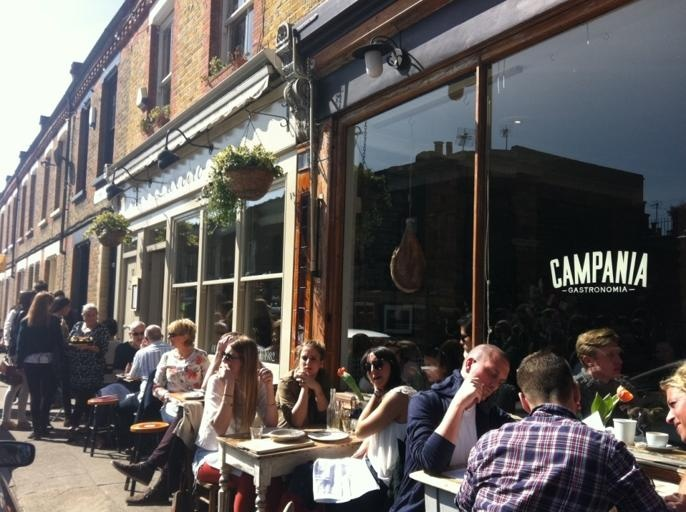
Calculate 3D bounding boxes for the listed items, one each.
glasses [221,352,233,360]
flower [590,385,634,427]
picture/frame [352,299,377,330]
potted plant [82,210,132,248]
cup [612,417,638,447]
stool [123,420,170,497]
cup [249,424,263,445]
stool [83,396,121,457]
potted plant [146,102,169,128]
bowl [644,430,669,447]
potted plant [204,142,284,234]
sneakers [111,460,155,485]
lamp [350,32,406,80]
[{"bbox_3d":[-1.080,0.927,5.721,0.069,0.074,0.169,6,-13,-32],"label":"glasses"},{"bbox_3d":[1.980,1.107,4.536,0.176,0.211,0.207,35,-10,14],"label":"flower"},{"bbox_3d":[0.232,0.639,6.735,0.317,0.308,0.046,-8,-13,39],"label":"picture/frame"},{"bbox_3d":[-4.231,-0.558,11.310,0.571,0.703,0.600,-1,-10,3],"label":"potted plant"},{"bbox_3d":[2.055,1.279,4.500,0.187,0.192,0.147,-2,-10,9],"label":"cup"},{"bbox_3d":[-2.136,2.254,6.863,0.590,0.770,0.565,5,-7,-39],"label":"stool"},{"bbox_3d":[-0.741,1.511,5.307,0.103,0.136,0.113,0,-13,0],"label":"cup"},{"bbox_3d":[-3.116,2.204,8.092,0.449,0.682,0.466,-5,-3,27],"label":"stool"},{"bbox_3d":[-3.296,-2.531,11.166,0.396,0.480,0.139,25,7,35],"label":"potted plant"},{"bbox_3d":[2.253,1.309,4.428,0.109,0.100,0.114,1,-2,0],"label":"bowl"},{"bbox_3d":[-1.249,-0.843,7.212,0.965,0.618,0.784,-19,-24,29],"label":"potted plant"},{"bbox_3d":[-2.151,2.251,6.408,0.557,0.228,0.209,-6,-12,29],"label":"sneakers"},{"bbox_3d":[0.378,-1.977,6.129,0.525,0.486,0.441,-10,-1,-7],"label":"lamp"}]
